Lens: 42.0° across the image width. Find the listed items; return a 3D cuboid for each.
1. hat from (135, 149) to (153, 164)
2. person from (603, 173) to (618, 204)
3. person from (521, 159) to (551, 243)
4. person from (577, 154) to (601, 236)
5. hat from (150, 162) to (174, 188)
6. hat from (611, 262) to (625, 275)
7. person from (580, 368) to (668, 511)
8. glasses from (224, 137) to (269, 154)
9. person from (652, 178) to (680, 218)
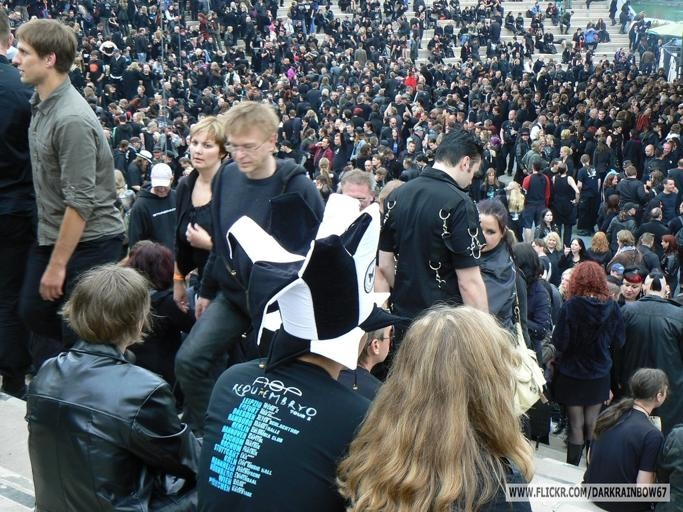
[{"bbox_3d":[-2.801,-1.436,12.592,0.247,0.111,0.283,21,5,-10],"label":"hat"},{"bbox_3d":[4.352,-1.145,14.404,0.232,0.505,1.207,4,1,16],"label":"person"},{"bbox_3d":[3.200,-0.885,14.769,0.432,1.519,0.419,-2,28,0],"label":"person"},{"bbox_3d":[4.398,-1.099,15.879,0.434,1.455,0.969,4,1,16],"label":"person"},{"bbox_3d":[-1.607,-0.723,7.896,0.147,0.120,0.234,4,35,-14],"label":"hat"},{"bbox_3d":[2.949,0.126,9.528,0.088,0.080,0.145,9,20,28],"label":"hat"},{"bbox_3d":[2.195,1.314,6.885,0.556,1.074,0.415,4,1,20],"label":"person"},{"bbox_3d":[-0.563,-0.674,5.462,0.288,0.112,0.148,4,1,-9],"label":"glasses"},{"bbox_3d":[4.909,-0.886,13.548,0.485,0.793,0.261,-14,10,-35],"label":"person"}]
